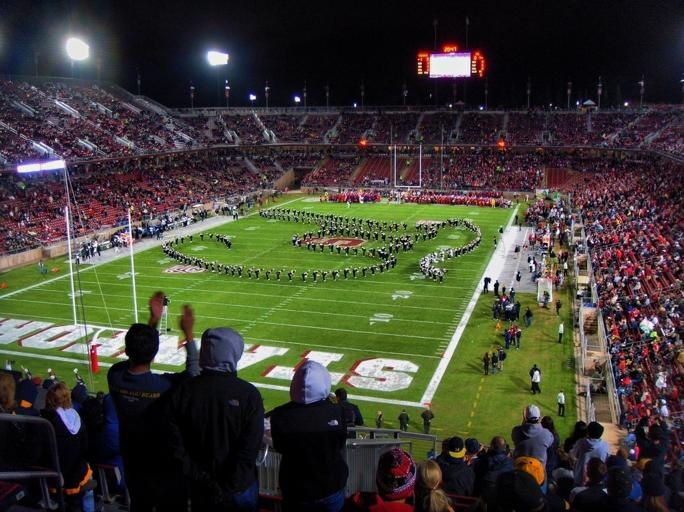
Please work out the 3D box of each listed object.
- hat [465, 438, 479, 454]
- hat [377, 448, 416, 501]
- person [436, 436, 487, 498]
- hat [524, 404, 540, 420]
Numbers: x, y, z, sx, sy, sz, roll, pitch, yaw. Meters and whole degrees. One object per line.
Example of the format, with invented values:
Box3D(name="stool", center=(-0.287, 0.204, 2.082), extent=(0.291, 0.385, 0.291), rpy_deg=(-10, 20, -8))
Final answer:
Box3D(name="hat", center=(1.412, 2.100, 6.236), extent=(0.141, 0.207, 0.206), rpy_deg=(1, 10, 15))
Box3D(name="hat", center=(0.390, 1.562, 4.176), extent=(0.239, 0.191, 0.367), rpy_deg=(2, 23, 8))
Box3D(name="person", center=(1.098, 2.122, 5.591), extent=(0.413, 0.867, 0.274), rpy_deg=(-6, 24, -2))
Box3D(name="hat", center=(2.153, 1.796, 6.521), extent=(0.159, 0.215, 0.158), rpy_deg=(2, 14, 12))
